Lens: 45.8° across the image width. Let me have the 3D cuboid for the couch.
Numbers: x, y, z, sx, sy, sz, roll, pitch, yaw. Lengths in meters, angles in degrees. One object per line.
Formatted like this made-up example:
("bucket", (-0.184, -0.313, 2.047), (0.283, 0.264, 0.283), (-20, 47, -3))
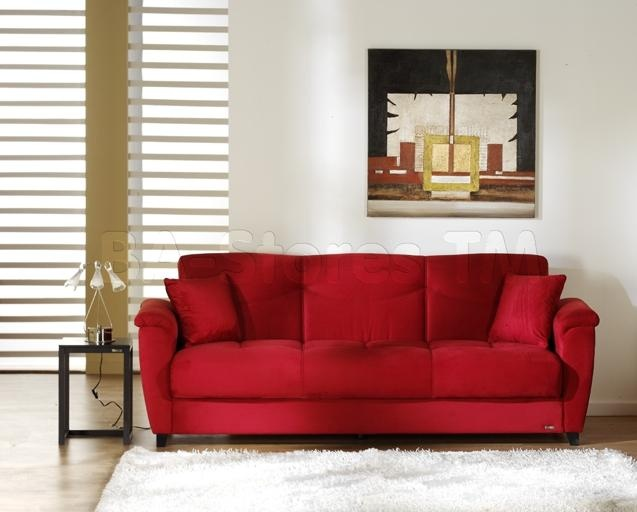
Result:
("couch", (0.317, 0.618, 5.018), (2.834, 1.170, 0.985), (0, 1, 1))

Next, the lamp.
("lamp", (-1.628, 0.333, 5.544), (0.557, 0.720, 0.279), (1, 3, -2))

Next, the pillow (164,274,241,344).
("pillow", (-0.735, 0.327, 4.810), (0.435, 0.420, 0.131), (-8, -15, -40))

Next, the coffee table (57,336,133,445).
("coffee table", (-1.410, 0.857, 4.760), (0.495, 0.619, 0.483), (4, -13, -27))

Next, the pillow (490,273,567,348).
("pillow", (1.351, 0.363, 4.848), (0.140, 0.462, 0.458), (27, -13, -35))
